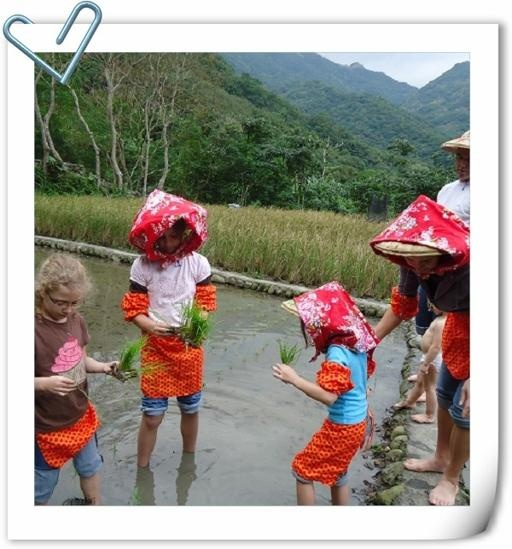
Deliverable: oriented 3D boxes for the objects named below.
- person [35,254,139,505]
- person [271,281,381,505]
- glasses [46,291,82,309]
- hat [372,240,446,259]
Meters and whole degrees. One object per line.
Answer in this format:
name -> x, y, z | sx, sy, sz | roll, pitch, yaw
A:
person -> -0.963, 0.603, 2.709 | 0.360, 1.420, 0.440 | 1, 13, -12
person -> 0.369, 0.665, 2.778 | 0.589, 1.217, 0.410 | 1, 13, -13
glasses -> -0.950, 0.118, 2.556 | 0.091, 0.050, 0.111 | 4, 11, -28
hat -> 0.786, -0.139, 2.836 | 0.167, 0.084, 0.401 | -5, 14, -36
